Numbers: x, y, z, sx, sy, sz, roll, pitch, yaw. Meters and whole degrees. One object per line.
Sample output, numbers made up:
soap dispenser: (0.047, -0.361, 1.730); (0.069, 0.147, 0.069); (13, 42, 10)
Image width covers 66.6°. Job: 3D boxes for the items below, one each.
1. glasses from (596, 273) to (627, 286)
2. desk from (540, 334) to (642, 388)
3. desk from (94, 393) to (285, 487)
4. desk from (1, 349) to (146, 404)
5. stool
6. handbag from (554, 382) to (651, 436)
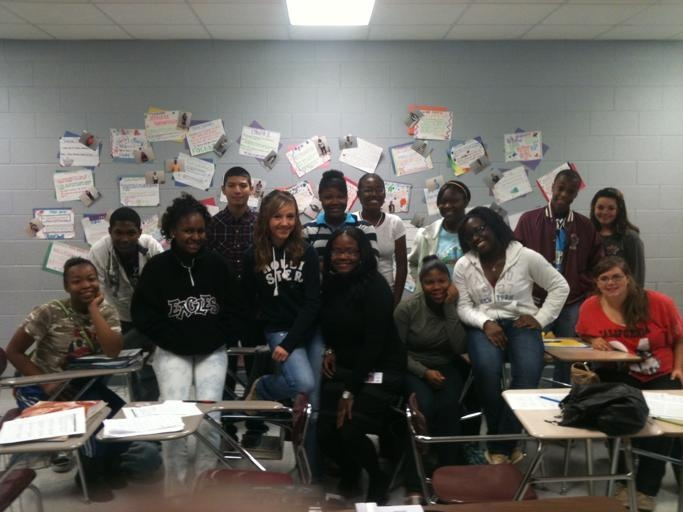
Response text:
glasses: (1.760, 0.166, 3.371); (0.104, 0.047, 0.122); (-13, -20, 26)
desk: (1.530, 0.526, 3.271); (0.362, 0.251, 0.584); (-1, 10, -4)
desk: (-0.723, 0.961, 2.718); (0.881, 0.458, 0.613); (-3, 9, -10)
desk: (-1.585, 0.757, 3.158); (0.784, 0.269, 0.487); (-5, 9, -20)
stool: (0.640, 1.084, 2.813); (0.618, 0.658, 0.570); (-4, 4, 1)
handbag: (1.228, 0.709, 2.433); (0.318, 0.089, 0.279); (-1, 5, 7)
